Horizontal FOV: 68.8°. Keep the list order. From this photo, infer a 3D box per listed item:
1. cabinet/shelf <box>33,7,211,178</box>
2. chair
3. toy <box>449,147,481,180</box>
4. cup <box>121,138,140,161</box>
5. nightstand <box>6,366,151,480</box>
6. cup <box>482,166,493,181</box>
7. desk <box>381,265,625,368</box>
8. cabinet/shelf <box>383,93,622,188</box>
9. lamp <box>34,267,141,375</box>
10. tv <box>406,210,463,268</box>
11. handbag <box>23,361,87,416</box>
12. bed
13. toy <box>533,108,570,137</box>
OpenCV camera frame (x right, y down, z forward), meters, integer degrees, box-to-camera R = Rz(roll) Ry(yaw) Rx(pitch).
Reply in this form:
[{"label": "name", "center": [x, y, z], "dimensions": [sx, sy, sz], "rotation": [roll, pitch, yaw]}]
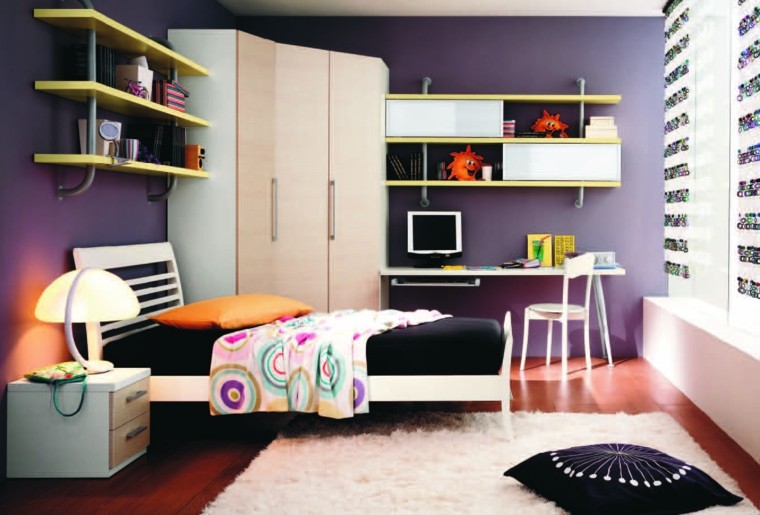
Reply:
[{"label": "cabinet/shelf", "center": [-1.884, -1.172, 3.960], "dimensions": [0.311, 0.839, 1.521], "rotation": [2, 1, 9]}, {"label": "chair", "center": [1.668, 0.484, 5.179], "dimensions": [0.644, 1.138, 0.947], "rotation": [3, 12, 21]}, {"label": "toy", "center": [0.838, -0.911, 5.431], "dimensions": [0.313, 0.348, 0.092], "rotation": [1, -8, -6]}, {"label": "cup", "center": [-1.756, -0.755, 3.910], "dimensions": [0.140, 0.162, 0.138], "rotation": [0, 1, 0]}, {"label": "nightstand", "center": [-1.905, 0.965, 3.551], "dimensions": [0.613, 0.555, 0.728], "rotation": [0, -2, -3]}, {"label": "cup", "center": [1.035, -0.822, 5.419], "dimensions": [0.126, 0.149, 0.129], "rotation": [0, 3, 0]}, {"label": "desk", "center": [1.163, 0.466, 5.587], "dimensions": [2.265, 0.867, 0.720], "rotation": [0, 10, 12]}, {"label": "cabinet/shelf", "center": [1.174, -1.116, 5.430], "dimensions": [2.177, 0.894, 0.375], "rotation": [1, 3, 4]}, {"label": "lamp", "center": [-1.803, 0.367, 3.696], "dimensions": [0.634, 0.741, 0.667], "rotation": [0, 2, 10]}, {"label": "tv", "center": [0.530, -0.184, 5.390], "dimensions": [0.533, 0.536, 0.210], "rotation": [0, 0, 0]}, {"label": "handbag", "center": [-1.940, 0.777, 3.397], "dimensions": [0.468, 0.093, 0.318], "rotation": [22, 15, 37]}, {"label": "bed", "center": [-0.594, 0.562, 4.251], "dimensions": [2.466, 1.168, 1.478], "rotation": [-2, -1, 1]}, {"label": "toy", "center": [1.657, -1.285, 5.310], "dimensions": [0.294, 0.308, 0.166], "rotation": [13, 9, 4]}]
